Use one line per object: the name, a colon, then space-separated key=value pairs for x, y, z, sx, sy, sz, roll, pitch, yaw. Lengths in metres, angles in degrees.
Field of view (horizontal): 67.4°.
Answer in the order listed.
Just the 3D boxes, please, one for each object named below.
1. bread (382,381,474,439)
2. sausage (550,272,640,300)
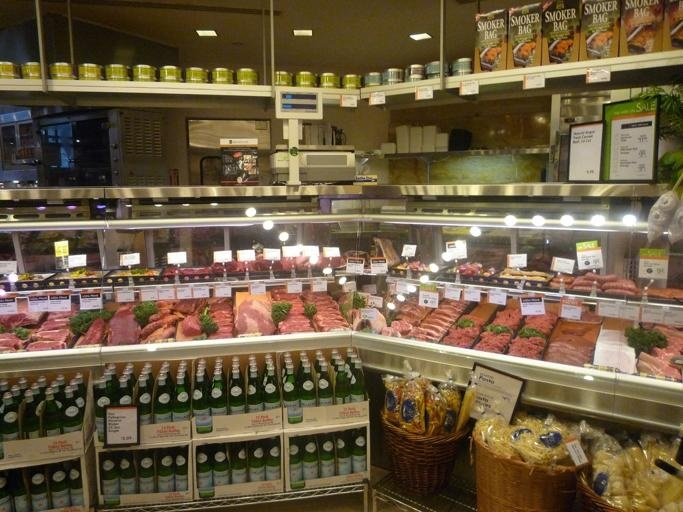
bread: x=0.542 y=0.958 z=3.252 sx=0.569 sy=0.305 sz=0.265 roll=1 pitch=12 yaw=20
sausage: x=1.554 y=0.177 z=3.135 sx=0.501 sy=0.150 sz=0.026 roll=2 pitch=13 yaw=28
